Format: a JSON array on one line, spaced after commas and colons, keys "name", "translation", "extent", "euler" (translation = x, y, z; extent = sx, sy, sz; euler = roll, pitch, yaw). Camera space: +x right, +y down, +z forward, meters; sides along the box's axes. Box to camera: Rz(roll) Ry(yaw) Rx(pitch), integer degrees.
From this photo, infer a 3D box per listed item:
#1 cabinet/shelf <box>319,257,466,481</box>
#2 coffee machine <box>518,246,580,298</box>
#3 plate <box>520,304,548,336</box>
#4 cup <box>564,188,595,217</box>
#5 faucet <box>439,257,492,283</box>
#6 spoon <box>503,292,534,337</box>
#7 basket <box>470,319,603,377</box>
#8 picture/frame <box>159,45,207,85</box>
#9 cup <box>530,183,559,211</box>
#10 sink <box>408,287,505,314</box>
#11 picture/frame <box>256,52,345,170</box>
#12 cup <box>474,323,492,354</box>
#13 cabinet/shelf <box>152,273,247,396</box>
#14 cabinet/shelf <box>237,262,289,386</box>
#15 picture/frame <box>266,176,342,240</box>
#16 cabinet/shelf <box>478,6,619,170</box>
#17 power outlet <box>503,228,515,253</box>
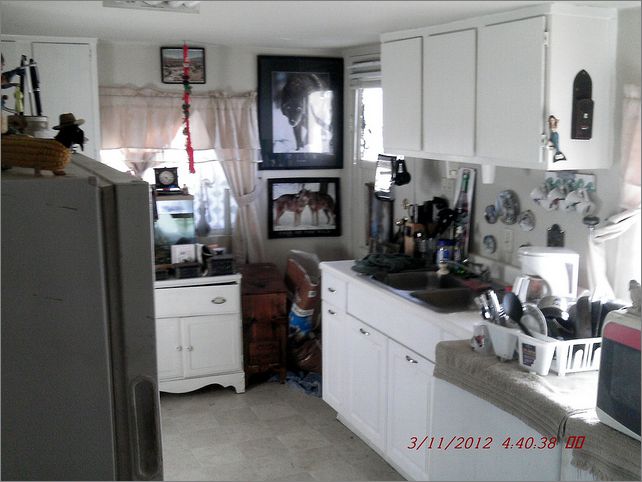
[{"name": "cabinet/shelf", "translation": [0.412, 0.707, 2.966], "extent": [0.493, 1.007, 1.257], "euler": [0, 4, -18]}, {"name": "coffee machine", "translation": [1.024, 0.186, 2.435], "extent": [0.274, 0.251, 0.158], "euler": [-2, 0, -16]}, {"name": "plate", "translation": [0.839, 0.305, 2.091], "extent": [0.018, 0.099, 0.100], "euler": [-5, 50, -16]}, {"name": "cup", "translation": [1.249, -0.192, 2.576], "extent": [0.067, 0.123, 0.164], "euler": [-4, 13, -15]}, {"name": "faucet", "translation": [0.877, 0.160, 3.160], "extent": [0.123, 0.078, 0.223], "euler": [-7, 13, -30]}, {"name": "spoon", "translation": [0.765, 0.281, 2.100], "extent": [0.030, 0.201, 0.059], "euler": [1, -38, -38]}, {"name": "basket", "translation": [0.961, 0.402, 2.106], "extent": [0.219, 0.103, 0.280], "euler": [-1, 15, 1]}, {"name": "picture/frame", "translation": [-1.146, -1.449, 4.339], "extent": [0.367, 0.285, 0.030], "euler": [-3, 18, -20]}, {"name": "cup", "translation": [1.167, -0.231, 2.760], "extent": [0.093, 0.110, 0.270], "euler": [3, 16, 23]}, {"name": "sink", "translation": [0.716, 0.316, 2.952], "extent": [0.276, 0.093, 0.223], "euler": [-2, 6, -30]}, {"name": "picture/frame", "translation": [-0.208, -1.169, 4.635], "extent": [1.061, 1.244, 0.046], "euler": [-2, 14, -11]}, {"name": "cup", "translation": [0.636, 0.390, 2.121], "extent": [0.067, 0.120, 0.031], "euler": [3, -12, -13]}, {"name": "cabinet/shelf", "translation": [-1.080, 0.708, 4.211], "extent": [0.894, 0.941, 0.507], "euler": [-2, 8, -21]}, {"name": "cabinet/shelf", "translation": [-0.466, 0.703, 4.209], "extent": [0.464, 0.714, 0.779], "euler": [-4, 16, -12]}, {"name": "picture/frame", "translation": [-0.182, -0.317, 4.785], "extent": [0.596, 0.471, 0.053], "euler": [-1, 6, -13]}, {"name": "cabinet/shelf", "translation": [1.066, -0.719, 2.633], "extent": [0.643, 0.716, 0.607], "euler": [7, 13, 43]}, {"name": "power outlet", "translation": [1.086, -0.005, 3.070], "extent": [0.012, 0.138, 0.085], "euler": [-6, 14, -22]}]
